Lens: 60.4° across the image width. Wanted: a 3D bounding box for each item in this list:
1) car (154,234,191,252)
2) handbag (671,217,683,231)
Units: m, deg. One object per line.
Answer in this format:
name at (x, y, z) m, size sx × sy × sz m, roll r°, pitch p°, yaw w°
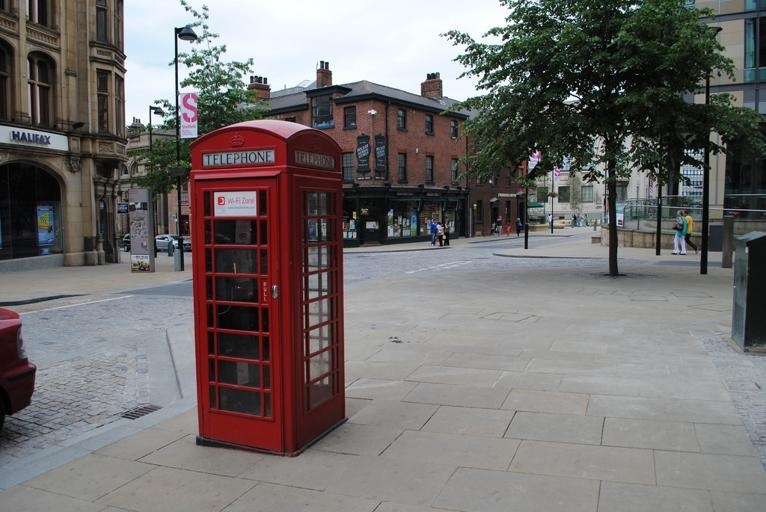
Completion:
car at (-13.295, -0.795, 41.421) m, size 3.058 × 1.042 × 1.332 m, roll 5°, pitch 8°, yaw 28°
handbag at (13.181, -1.426, 29.214) m, size 0.222 × 0.664 × 0.650 m, roll -3°, pitch 11°, yaw -4°
